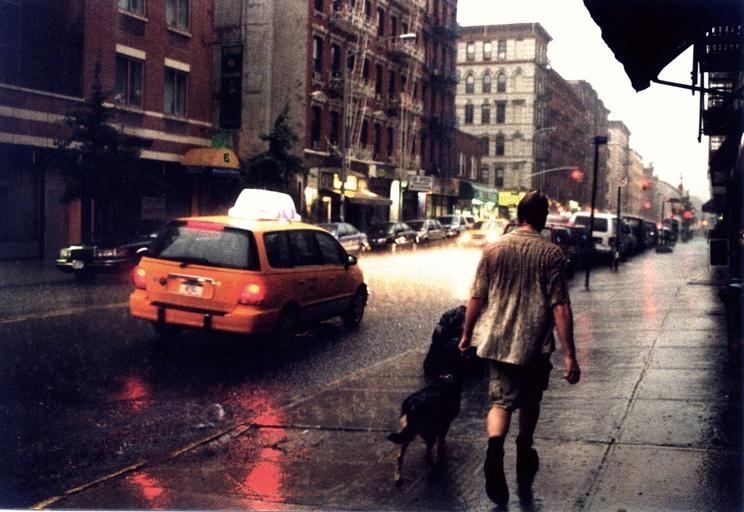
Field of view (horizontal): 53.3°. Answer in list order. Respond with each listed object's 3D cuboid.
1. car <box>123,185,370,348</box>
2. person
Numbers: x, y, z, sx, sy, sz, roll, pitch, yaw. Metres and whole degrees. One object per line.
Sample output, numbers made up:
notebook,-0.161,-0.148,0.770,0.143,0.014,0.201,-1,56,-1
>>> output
car,-1.784,0.017,13.211,2.040,2.039,3.870,5,7,25
person,1.501,0.898,7.582,1.020,3.017,0.805,-3,8,-16
